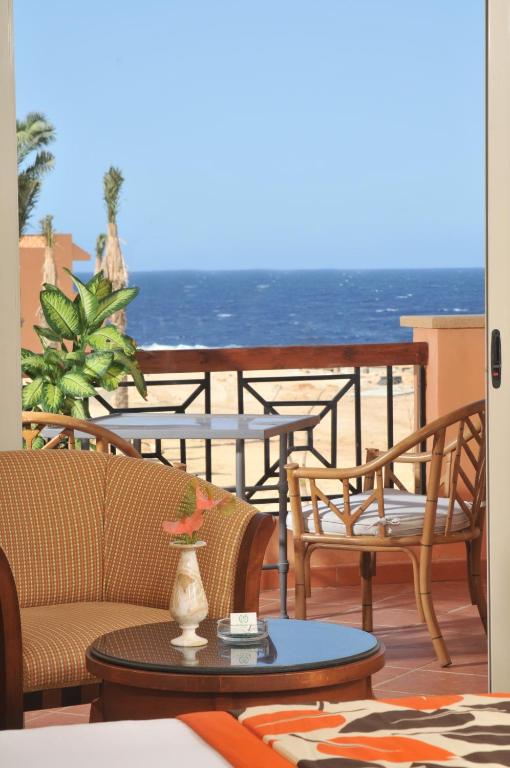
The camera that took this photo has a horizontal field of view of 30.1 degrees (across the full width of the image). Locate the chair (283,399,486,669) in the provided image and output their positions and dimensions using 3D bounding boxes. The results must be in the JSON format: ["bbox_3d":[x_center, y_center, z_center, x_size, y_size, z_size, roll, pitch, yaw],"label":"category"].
[{"bbox_3d":[0.489,0.472,3.239,0.615,0.900,0.663,0,1,34],"label":"chair"}]

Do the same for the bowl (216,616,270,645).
[{"bbox_3d":[-0.020,0.387,1.496,0.051,0.021,0.050,1,1,0],"label":"bowl"}]
